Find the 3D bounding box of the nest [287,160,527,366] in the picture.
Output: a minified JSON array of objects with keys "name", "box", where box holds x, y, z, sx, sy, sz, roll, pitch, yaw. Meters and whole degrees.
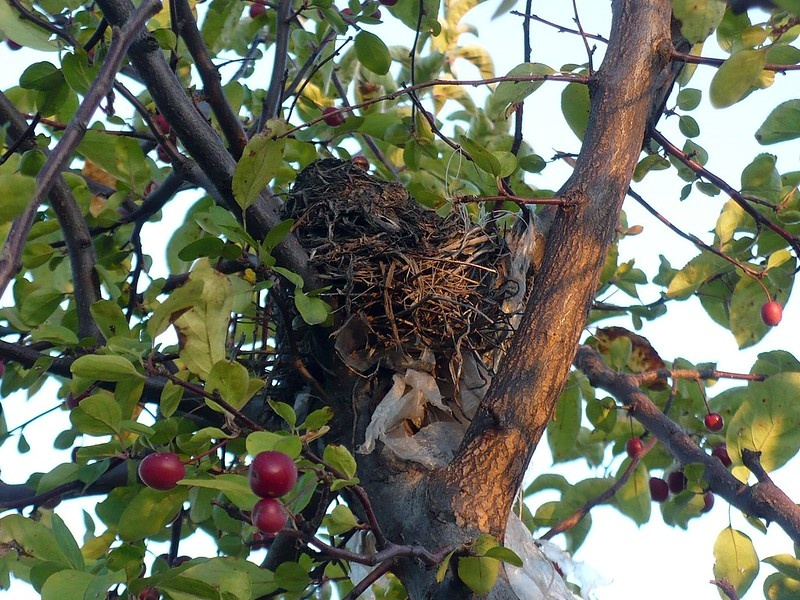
[{"name":"nest","box":[-0.018,-0.164,3.808,0.626,0.708,0.390,-13,-66,-26]}]
